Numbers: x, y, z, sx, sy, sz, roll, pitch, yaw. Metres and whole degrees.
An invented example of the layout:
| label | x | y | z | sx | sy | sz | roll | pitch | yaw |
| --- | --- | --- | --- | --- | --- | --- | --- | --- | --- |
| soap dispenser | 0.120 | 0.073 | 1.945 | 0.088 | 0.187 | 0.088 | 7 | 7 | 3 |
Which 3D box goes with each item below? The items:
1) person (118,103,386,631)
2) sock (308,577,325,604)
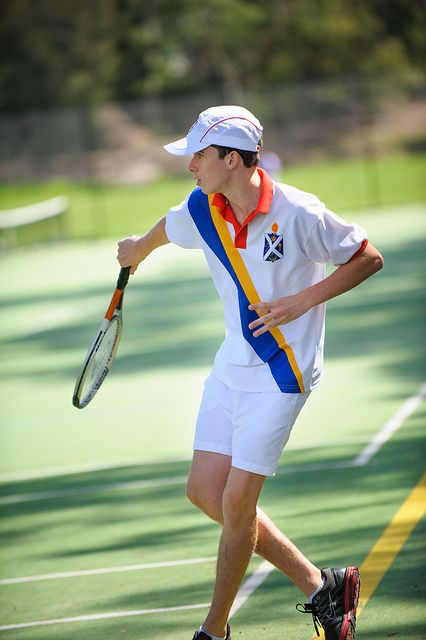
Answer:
| label | x | y | z | sx | sy | sz | roll | pitch | yaw |
| --- | --- | --- | --- | --- | --- | --- | --- | --- | --- |
| person | 0.185 | 0.209 | 2.544 | 0.798 | 1.903 | 0.729 | -5 | 10 | 24 |
| sock | 0.346 | 0.919 | 2.496 | 0.080 | 0.038 | 0.059 | -35 | 2 | -24 |
